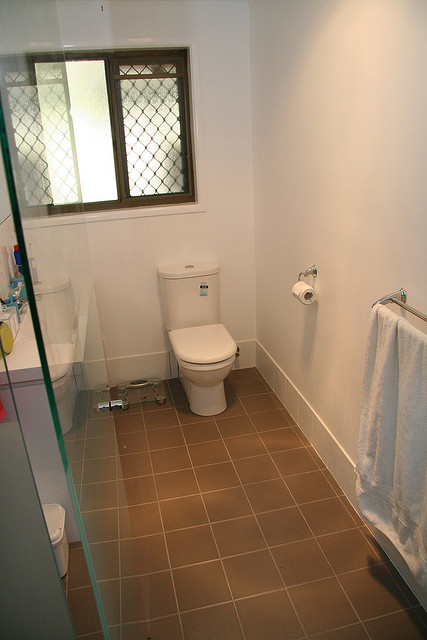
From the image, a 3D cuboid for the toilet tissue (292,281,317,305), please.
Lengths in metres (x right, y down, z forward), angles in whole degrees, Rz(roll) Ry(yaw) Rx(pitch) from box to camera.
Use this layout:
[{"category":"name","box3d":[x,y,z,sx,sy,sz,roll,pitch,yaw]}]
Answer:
[{"category":"toilet tissue","box3d":[0.406,-0.121,2.030,0.067,0.076,0.103,-13,24,-25]}]

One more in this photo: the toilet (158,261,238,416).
[{"category":"toilet","box3d":[-0.082,0.132,2.653,0.331,0.777,0.659,-7,21,-13]}]
